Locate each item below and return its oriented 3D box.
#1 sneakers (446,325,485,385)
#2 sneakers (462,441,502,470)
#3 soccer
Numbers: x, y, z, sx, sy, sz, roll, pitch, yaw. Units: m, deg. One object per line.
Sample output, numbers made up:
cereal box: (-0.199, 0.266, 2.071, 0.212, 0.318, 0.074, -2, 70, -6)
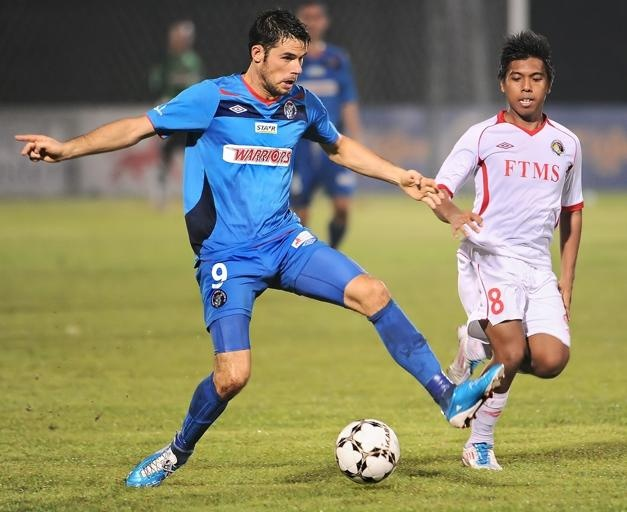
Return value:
sneakers: (0.882, 0.593, 6.446, 0.204, 0.151, 0.438, -27, -19, -15)
sneakers: (0.920, 1.116, 5.959, 0.226, 0.098, 0.100, -3, -6, 41)
soccer: (0.283, 1.098, 5.942, 0.331, 0.299, 0.313, -5, -31, -3)
